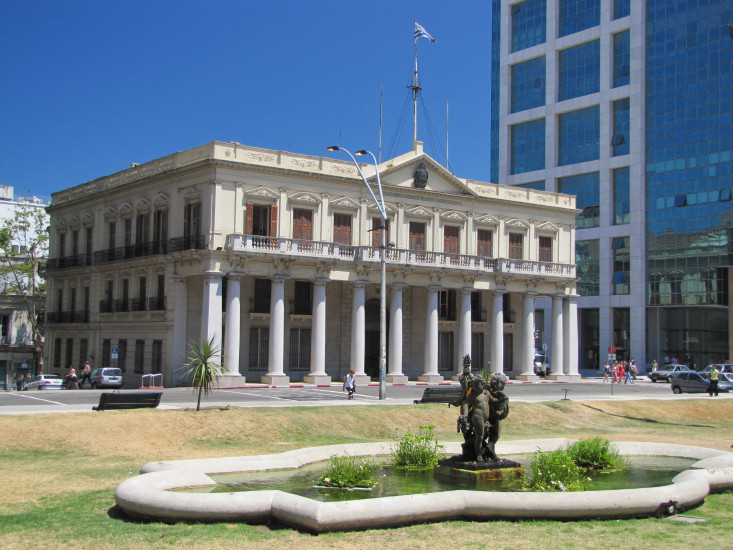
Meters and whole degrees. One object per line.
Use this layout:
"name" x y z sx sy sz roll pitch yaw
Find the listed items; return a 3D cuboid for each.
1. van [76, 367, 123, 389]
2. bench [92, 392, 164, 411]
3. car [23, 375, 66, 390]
"van" -18.392 7.215 55.314 2.194 1.437 3.027 8 -12 -39
"bench" -10.311 5.486 34.247 2.539 0.727 1.215 3 -9 -17
"car" -22.936 7.663 56.246 1.335 0.919 3.156 5 -6 -45
